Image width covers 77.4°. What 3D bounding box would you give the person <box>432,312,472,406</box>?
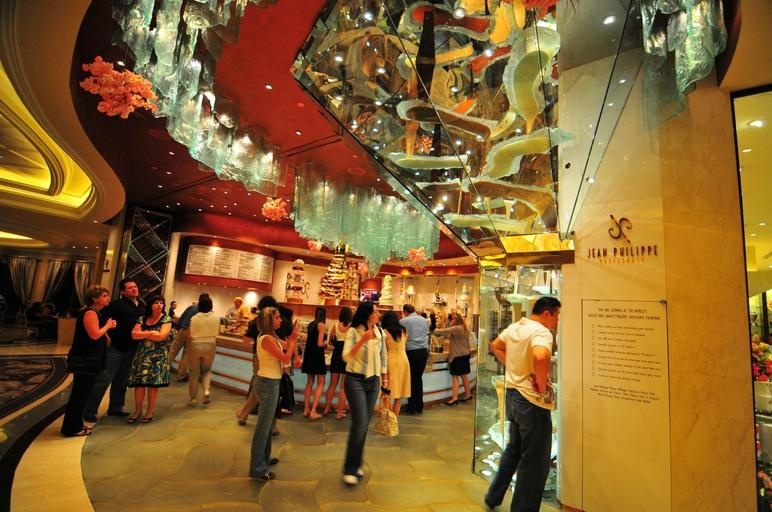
[{"bbox_3d":[1.139,1.716,8.074,0.532,1.106,0.846,4,2,16],"label":"person"}]

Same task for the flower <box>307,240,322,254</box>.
[{"bbox_3d":[-1.840,-0.257,12.344,0.282,0.277,0.280,17,6,10],"label":"flower"}]

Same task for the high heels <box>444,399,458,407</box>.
[{"bbox_3d":[1.088,2.445,8.022,0.180,0.083,0.089,1,-14,10],"label":"high heels"}]

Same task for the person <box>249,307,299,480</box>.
[{"bbox_3d":[-1.272,1.420,5.415,0.405,1.740,0.959,3,2,-11],"label":"person"}]

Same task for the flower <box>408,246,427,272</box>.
[{"bbox_3d":[0.732,0.076,11.044,0.523,0.621,0.527,-6,-7,10],"label":"flower"}]

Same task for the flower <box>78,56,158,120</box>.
[{"bbox_3d":[-2.725,-1.764,4.919,0.699,0.373,0.541,12,-6,-38],"label":"flower"}]
